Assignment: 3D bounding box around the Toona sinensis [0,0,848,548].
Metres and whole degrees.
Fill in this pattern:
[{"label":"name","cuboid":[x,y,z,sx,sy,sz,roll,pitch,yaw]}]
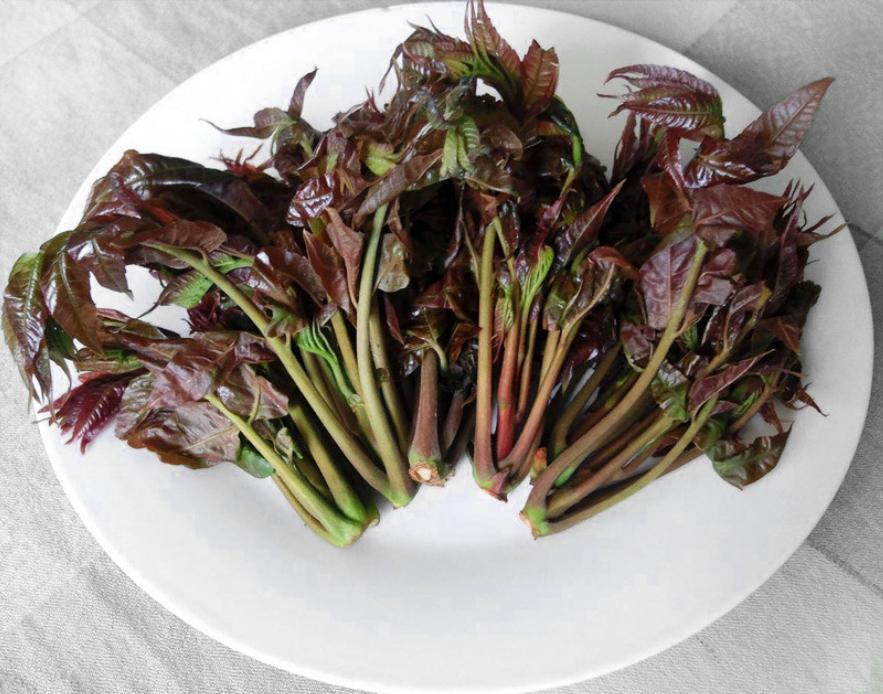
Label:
[{"label":"Toona sinensis","cuboid":[-0.014,-0.065,1.204,1.116,0.404,0.676,-13,80,-3]}]
